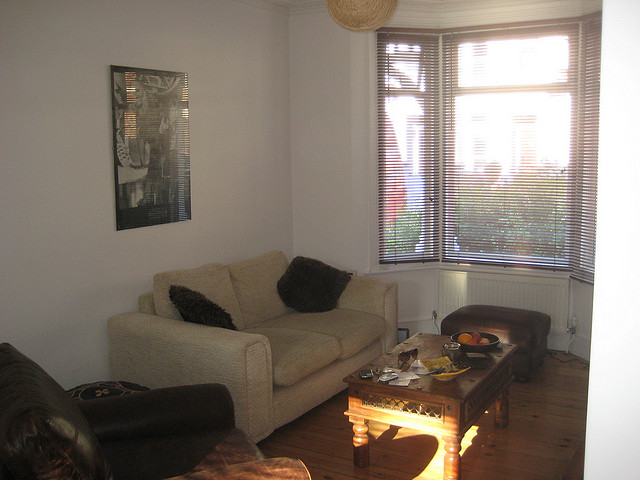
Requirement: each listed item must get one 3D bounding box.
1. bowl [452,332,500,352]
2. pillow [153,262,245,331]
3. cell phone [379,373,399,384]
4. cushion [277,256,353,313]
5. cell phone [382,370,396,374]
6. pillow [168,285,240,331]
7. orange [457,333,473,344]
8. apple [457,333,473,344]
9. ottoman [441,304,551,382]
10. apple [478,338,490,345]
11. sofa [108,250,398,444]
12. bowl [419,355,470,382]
[{"bbox_3d":[1.081,0.693,3.645,0.316,0.131,0.353,1,9,12],"label":"bowl"},{"bbox_3d":[-0.934,0.346,3.962,0.516,0.495,0.677,18,11,35],"label":"pillow"},{"bbox_3d":[0.420,0.838,3.217,0.073,0.022,0.156,7,11,40],"label":"cell phone"},{"bbox_3d":[-0.070,0.398,4.561,0.499,0.175,0.497,28,56,4],"label":"cushion"},{"bbox_3d":[0.429,0.822,3.296,0.076,0.007,0.053,0,9,1],"label":"cell phone"},{"bbox_3d":[-0.845,0.471,3.650,0.481,0.280,0.236,4,10,27],"label":"pillow"},{"bbox_3d":[0.987,0.669,3.581,0.075,0.061,0.061,-8,34,-27],"label":"orange"},{"bbox_3d":[0.984,0.669,3.588,0.083,0.066,0.067,-4,27,-22],"label":"apple"},{"bbox_3d":[1.762,0.785,4.901,0.937,0.541,1.000,7,11,34],"label":"ottoman"},{"bbox_3d":[1.118,0.691,3.611,0.047,0.026,0.042,-2,-2,43],"label":"apple"},{"bbox_3d":[-0.385,0.719,4.361,1.260,0.951,2.252,3,6,31],"label":"sofa"},{"bbox_3d":[0.790,0.792,3.276,0.260,0.101,0.233,-3,9,-13],"label":"bowl"}]
